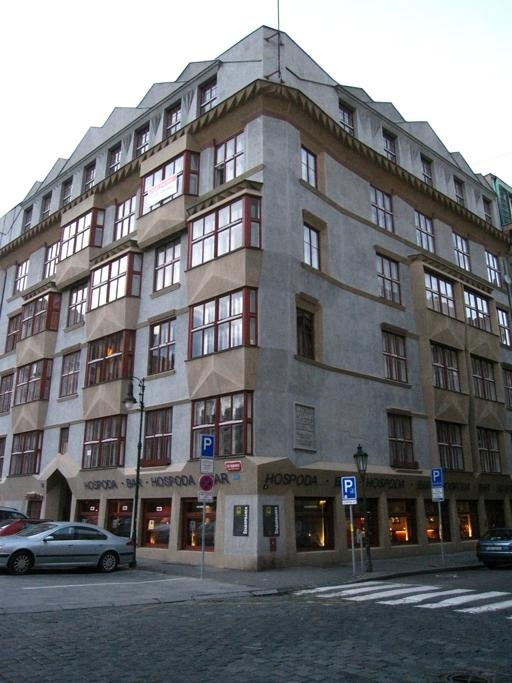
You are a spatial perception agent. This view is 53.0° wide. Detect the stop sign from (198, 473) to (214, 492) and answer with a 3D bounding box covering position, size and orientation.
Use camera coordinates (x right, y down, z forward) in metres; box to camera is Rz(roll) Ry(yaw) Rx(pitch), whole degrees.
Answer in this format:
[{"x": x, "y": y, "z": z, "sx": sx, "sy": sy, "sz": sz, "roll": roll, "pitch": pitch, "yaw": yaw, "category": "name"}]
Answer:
[{"x": -1.542, "y": 4.299, "z": 15.598, "sx": 0.378, "sy": 0.581, "sz": 0.780, "roll": 1, "pitch": -20, "yaw": -7, "category": "stop sign"}]
